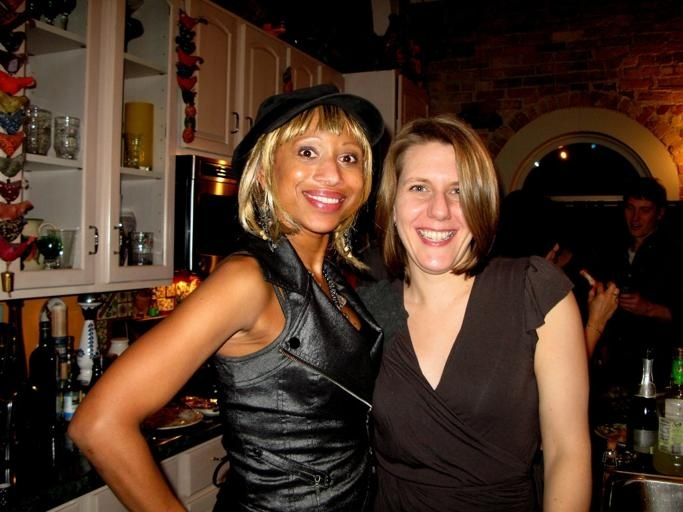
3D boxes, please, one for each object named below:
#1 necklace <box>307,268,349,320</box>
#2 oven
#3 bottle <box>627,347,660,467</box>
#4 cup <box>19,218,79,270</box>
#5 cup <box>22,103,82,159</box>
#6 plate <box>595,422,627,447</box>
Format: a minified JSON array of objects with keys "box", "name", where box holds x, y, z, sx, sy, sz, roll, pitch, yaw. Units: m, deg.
[{"box":[-0.051,0.144,2.094,0.042,0.181,0.108,-37,-31,32],"name":"necklace"},{"box":[-0.618,-0.215,3.379,0.495,0.675,0.359,5,1,23],"name":"oven"},{"box":[1.339,0.671,2.532,0.122,0.495,0.290,0,-3,28],"name":"bottle"},{"box":[-1.351,-0.051,2.619,0.160,0.248,0.243,1,7,1],"name":"cup"},{"box":[-1.346,-0.575,2.675,0.243,0.245,0.249,1,-1,0],"name":"cup"},{"box":[1.280,0.849,2.704,0.134,0.061,0.177,0,-3,23],"name":"plate"}]
